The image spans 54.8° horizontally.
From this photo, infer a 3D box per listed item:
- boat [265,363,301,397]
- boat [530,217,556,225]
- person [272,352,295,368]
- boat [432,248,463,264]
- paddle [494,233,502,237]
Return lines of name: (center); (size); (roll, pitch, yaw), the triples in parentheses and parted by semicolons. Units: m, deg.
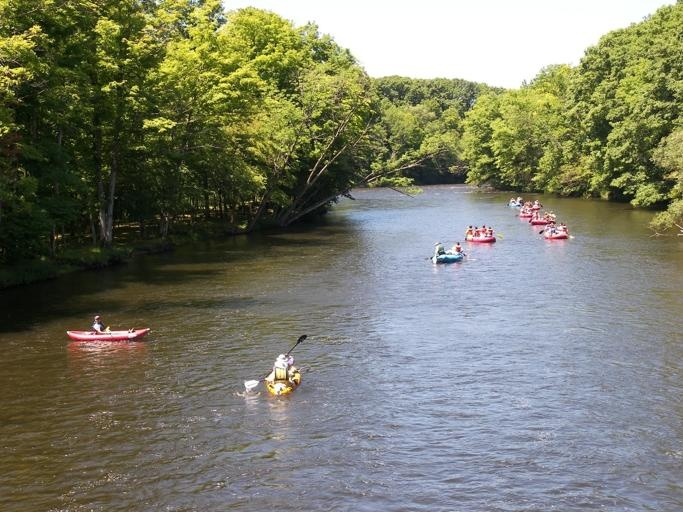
boat: (-2.401, 5.212, 27.613); (1.449, 1.098, 0.918); (-2, 4, -10)
boat: (22.630, -3.948, 74.305); (2.730, 0.847, 3.897); (-1, -2, 11)
person: (-2.383, 4.447, 27.869); (1.003, 0.343, 0.927); (5, 18, 4)
boat: (8.378, 0.033, 52.713); (1.423, 1.129, 3.181); (1, 3, 39)
paddle: (16.088, -2.165, 67.748); (0.466, 0.128, 1.409); (-9, 5, -4)
